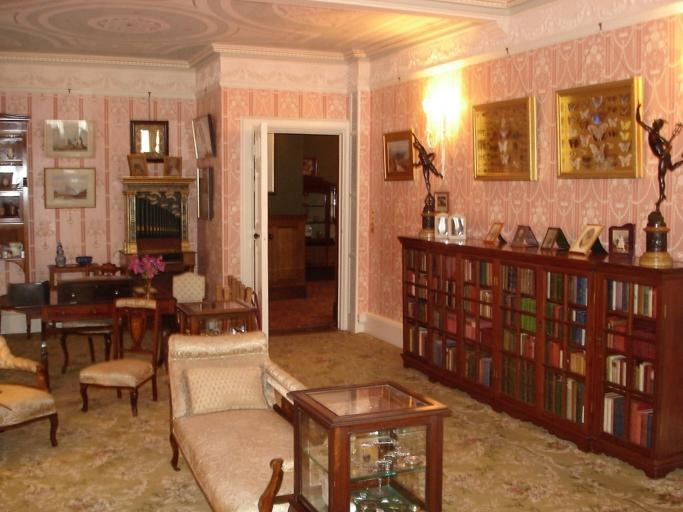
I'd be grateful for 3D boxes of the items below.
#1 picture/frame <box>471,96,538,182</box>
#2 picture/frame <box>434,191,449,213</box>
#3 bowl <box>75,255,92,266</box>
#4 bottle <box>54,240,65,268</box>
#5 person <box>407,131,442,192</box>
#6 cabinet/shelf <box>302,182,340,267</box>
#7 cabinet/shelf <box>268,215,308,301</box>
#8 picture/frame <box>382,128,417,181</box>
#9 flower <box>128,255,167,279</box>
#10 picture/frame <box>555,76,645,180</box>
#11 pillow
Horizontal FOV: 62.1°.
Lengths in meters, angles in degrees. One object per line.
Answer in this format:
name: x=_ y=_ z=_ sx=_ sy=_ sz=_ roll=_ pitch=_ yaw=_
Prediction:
picture/frame: x=1.942 y=-1.393 z=6.846 sx=0.083 sy=0.937 sz=1.024 roll=-10 pitch=12 yaw=-26
picture/frame: x=1.390 y=-0.730 z=7.878 sx=0.021 sy=0.328 sz=0.307 roll=1 pitch=2 yaw=-31
bowl: x=-4.411 y=0.088 z=9.665 sx=0.181 sy=0.102 sz=0.187 roll=-1 pitch=-1 yaw=0
bottle: x=-4.838 y=-0.035 z=9.732 sx=0.160 sy=0.384 sz=0.409 roll=-4 pitch=9 yaw=-26
person: x=1.224 y=-1.341 z=8.093 sx=0.341 sy=0.873 sz=0.856 roll=-1 pitch=8 yaw=-7
cabinet/shelf: x=-0.618 y=-1.023 z=16.190 sx=0.926 sy=2.453 sz=1.357 roll=-1 pitch=8 yaw=-4
cabinet/shelf: x=-1.187 y=0.057 z=12.279 sx=0.802 sy=1.622 sz=0.658 roll=-2 pitch=8 yaw=-10
picture/frame: x=0.908 y=-1.555 z=8.730 sx=0.060 sy=0.787 sz=0.792 roll=-5 pitch=8 yaw=-26
flower: x=-2.910 y=0.155 z=8.414 sx=0.332 sy=0.319 sz=0.350 roll=3 pitch=4 yaw=4
picture/frame: x=2.567 y=-1.251 z=5.730 sx=0.072 sy=0.953 sz=1.061 roll=-12 pitch=12 yaw=-21
pillow: x=-0.991 y=1.115 z=4.785 sx=0.646 sy=0.386 sz=0.185 roll=1 pitch=-19 yaw=-19
